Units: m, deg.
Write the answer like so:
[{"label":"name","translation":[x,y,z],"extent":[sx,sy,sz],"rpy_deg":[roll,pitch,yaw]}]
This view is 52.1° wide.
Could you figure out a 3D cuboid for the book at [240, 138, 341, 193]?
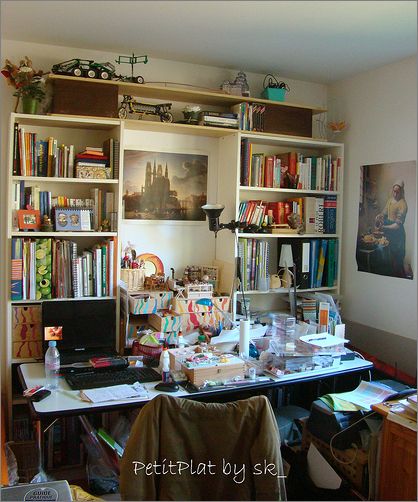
[{"label":"book","translation":[0.576,-0.635,3.245],"extent":[0.904,0.346,0.233],"rpy_deg":[-2,3,-26]}]

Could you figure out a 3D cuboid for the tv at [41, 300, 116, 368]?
[{"label":"tv","translation":[-0.781,0.429,2.571],"extent":[0.451,0.390,0.325],"rpy_deg":[0,-1,-23]}]

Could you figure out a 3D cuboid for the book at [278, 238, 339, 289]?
[{"label":"book","translation":[0.776,0.051,3.522],"extent":[0.388,0.481,0.511],"rpy_deg":[-1,5,-12]}]

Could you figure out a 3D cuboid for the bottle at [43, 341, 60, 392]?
[{"label":"bottle","translation":[-0.742,0.526,2.029],"extent":[0.065,0.202,0.204],"rpy_deg":[-1,3,-20]}]

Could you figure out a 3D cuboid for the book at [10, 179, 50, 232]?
[{"label":"book","translation":[-1.043,-0.259,2.504],"extent":[0.273,0.349,0.255],"rpy_deg":[1,0,-39]}]

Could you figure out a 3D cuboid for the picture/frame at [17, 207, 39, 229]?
[{"label":"picture/frame","translation":[-1.043,-0.189,2.456],"extent":[0.130,0.123,0.046],"rpy_deg":[-1,0,-38]}]

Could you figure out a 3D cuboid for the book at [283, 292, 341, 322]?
[{"label":"book","translation":[0.798,0.388,3.108],"extent":[0.318,0.106,0.238],"rpy_deg":[0,1,-26]}]

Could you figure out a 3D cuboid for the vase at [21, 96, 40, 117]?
[{"label":"vase","translation":[-1.032,-0.850,2.515],"extent":[0.100,0.093,0.103],"rpy_deg":[1,-1,2]}]

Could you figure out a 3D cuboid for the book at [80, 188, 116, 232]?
[{"label":"book","translation":[-0.723,-0.221,2.805],"extent":[0.250,0.431,0.325],"rpy_deg":[-1,0,-19]}]

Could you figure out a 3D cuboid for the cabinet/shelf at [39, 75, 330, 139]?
[{"label":"cabinet/shelf","translation":[-0.152,-0.969,2.945],"extent":[1.789,0.274,0.323],"rpy_deg":[-1,3,-22]}]

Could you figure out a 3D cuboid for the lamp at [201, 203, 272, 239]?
[{"label":"lamp","translation":[0.194,-0.195,2.726],"extent":[0.462,0.208,0.185],"rpy_deg":[-3,8,-5]}]

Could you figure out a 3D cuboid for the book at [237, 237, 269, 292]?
[{"label":"book","translation":[0.307,0.096,3.088],"extent":[0.141,0.380,0.349],"rpy_deg":[1,3,37]}]

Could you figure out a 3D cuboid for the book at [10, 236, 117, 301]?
[{"label":"book","translation":[-0.871,0.106,2.591],"extent":[0.601,0.373,0.174],"rpy_deg":[-1,3,-23]}]

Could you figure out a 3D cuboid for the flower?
[{"label":"flower","translation":[-1.068,-1.018,2.480],"extent":[0.229,0.274,0.165],"rpy_deg":[0,2,11]}]

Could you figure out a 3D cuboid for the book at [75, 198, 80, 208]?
[{"label":"book","translation":[-0.820,-0.303,2.692],"extent":[0.013,0.049,0.054],"rpy_deg":[7,6,30]}]

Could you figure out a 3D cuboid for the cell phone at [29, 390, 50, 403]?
[{"label":"cell phone","translation":[-0.733,0.628,1.856],"extent":[0.067,0.015,0.120],"rpy_deg":[0,3,7]}]
